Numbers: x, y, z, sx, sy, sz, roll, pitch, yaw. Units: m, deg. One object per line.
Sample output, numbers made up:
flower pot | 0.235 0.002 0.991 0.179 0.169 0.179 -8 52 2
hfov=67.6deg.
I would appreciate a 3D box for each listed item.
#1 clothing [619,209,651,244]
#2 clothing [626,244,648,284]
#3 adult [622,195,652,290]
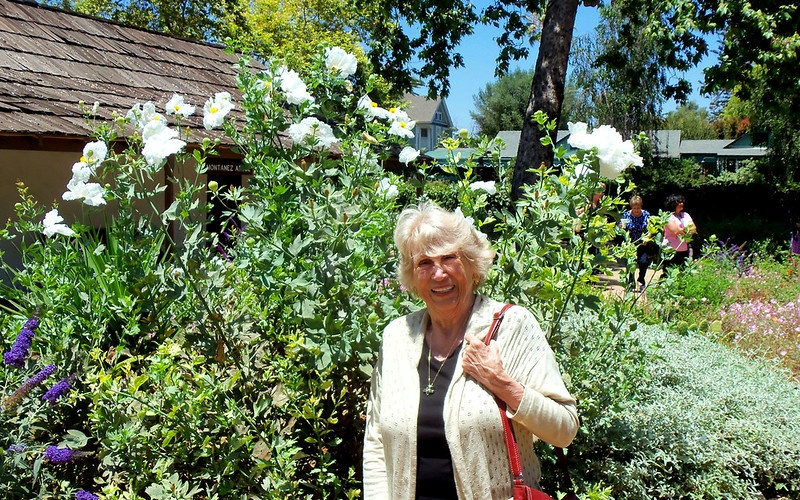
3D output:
clothing | 3.981 -0.440 10.166 0.392 0.535 0.300 -4 40 11
clothing | 4.146 0.258 10.405 0.207 0.734 0.171 1 13 17
adult | 4.000 -0.085 10.282 0.457 1.657 0.523 5 17 43
